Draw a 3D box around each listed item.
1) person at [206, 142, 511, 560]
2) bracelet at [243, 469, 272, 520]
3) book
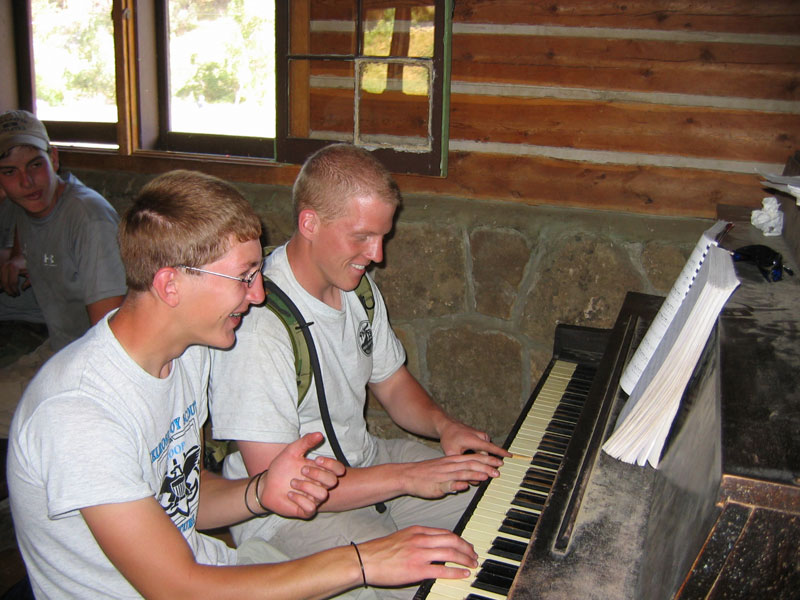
[{"bbox_3d":[-0.142,0.227,2.400,1.021,1.462,1.017,9,12,40],"label":"person"},{"bbox_3d":[-0.412,0.567,2.015,0.102,0.123,0.051,21,-10,-7],"label":"bracelet"},{"bbox_3d":[0.642,0.130,1.644,0.173,0.495,0.489,23,9,7],"label":"book"}]
